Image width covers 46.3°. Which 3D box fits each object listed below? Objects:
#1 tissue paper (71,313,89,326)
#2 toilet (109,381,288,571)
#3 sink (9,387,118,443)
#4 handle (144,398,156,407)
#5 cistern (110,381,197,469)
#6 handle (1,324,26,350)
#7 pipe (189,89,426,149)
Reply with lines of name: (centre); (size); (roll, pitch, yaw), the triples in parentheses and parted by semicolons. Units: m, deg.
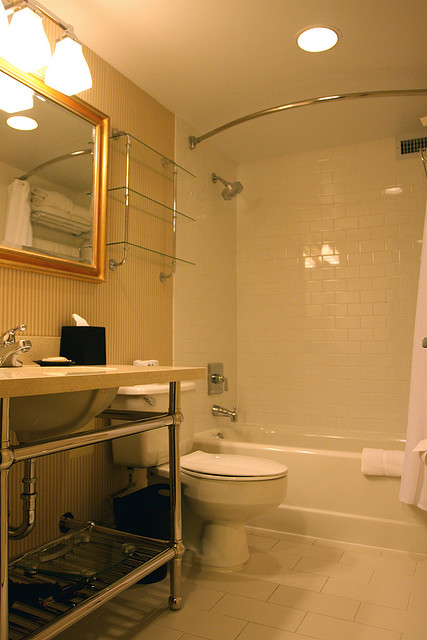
tissue paper: (-0.549, -0.001, 2.038); (0.056, 0.062, 0.178); (2, -6, -16)
toilet: (-0.044, 0.679, 2.253); (0.788, 0.778, 0.547); (-1, -4, 20)
sink: (-0.438, 0.228, 1.404); (0.211, 0.107, 0.261); (-5, -6, 18)
handle: (-0.255, 0.330, 1.998); (0.012, 0.032, 0.059); (-3, -7, 32)
cistern: (-0.278, 0.482, 2.207); (0.253, 0.353, 0.485); (-21, -16, 39)
handle: (-0.611, 0.052, 1.486); (0.044, 0.056, 0.156); (5, -14, -45)
pipe: (0.565, -1.199, 2.931); (1.616, 0.265, 0.070); (9, 19, 39)
